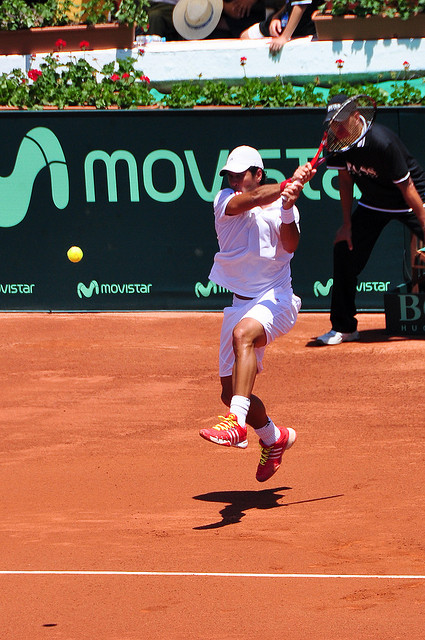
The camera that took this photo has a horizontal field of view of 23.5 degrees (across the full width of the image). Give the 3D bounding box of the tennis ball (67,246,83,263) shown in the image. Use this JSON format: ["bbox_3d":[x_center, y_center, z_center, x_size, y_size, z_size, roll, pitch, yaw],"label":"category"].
[{"bbox_3d":[-1.304,-0.616,9.526,0.142,0.152,0.063,-1,10,2],"label":"tennis ball"}]

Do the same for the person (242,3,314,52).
[{"bbox_3d":[0.798,-3.402,11.941,0.696,0.566,1.000,-2,10,-3],"label":"person"}]

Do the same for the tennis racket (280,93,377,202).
[{"bbox_3d":[0.761,-1.060,6.702,0.276,0.102,1.057,4,-34,-17],"label":"tennis racket"}]

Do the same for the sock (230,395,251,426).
[{"bbox_3d":[0.112,0.381,4.366,0.108,0.137,0.319,1,-7,3],"label":"sock"}]
